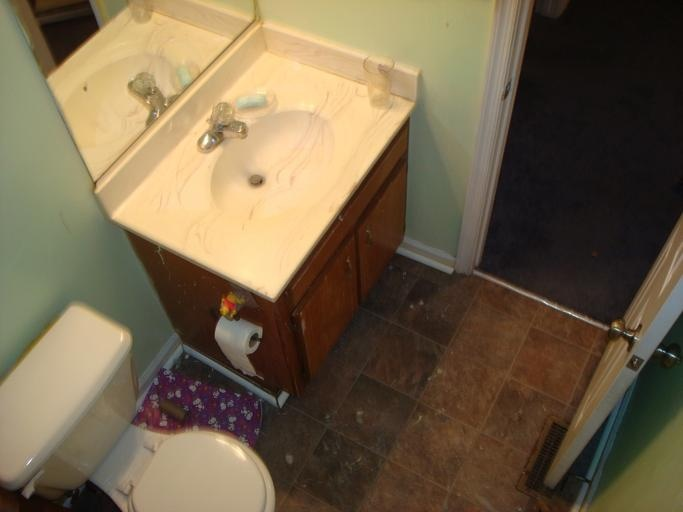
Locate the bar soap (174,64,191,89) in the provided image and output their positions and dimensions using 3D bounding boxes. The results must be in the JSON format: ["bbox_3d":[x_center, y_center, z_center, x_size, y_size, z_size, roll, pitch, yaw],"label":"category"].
[{"bbox_3d":[-0.609,-0.689,2.113,0.015,0.070,0.071,10,61,18],"label":"bar soap"}]

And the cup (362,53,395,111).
[{"bbox_3d":[0.152,-0.704,2.214,0.108,0.141,0.170,-7,54,-11],"label":"cup"}]

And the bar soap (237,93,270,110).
[{"bbox_3d":[-0.362,-0.625,2.240,0.109,0.032,0.076,-6,70,-7],"label":"bar soap"}]

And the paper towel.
[{"bbox_3d":[-0.397,0.361,2.187,0.195,0.284,0.156,29,67,16],"label":"paper towel"}]

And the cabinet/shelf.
[{"bbox_3d":[-0.168,-0.111,2.445,0.625,0.831,1.138,27,57,21],"label":"cabinet/shelf"}]
